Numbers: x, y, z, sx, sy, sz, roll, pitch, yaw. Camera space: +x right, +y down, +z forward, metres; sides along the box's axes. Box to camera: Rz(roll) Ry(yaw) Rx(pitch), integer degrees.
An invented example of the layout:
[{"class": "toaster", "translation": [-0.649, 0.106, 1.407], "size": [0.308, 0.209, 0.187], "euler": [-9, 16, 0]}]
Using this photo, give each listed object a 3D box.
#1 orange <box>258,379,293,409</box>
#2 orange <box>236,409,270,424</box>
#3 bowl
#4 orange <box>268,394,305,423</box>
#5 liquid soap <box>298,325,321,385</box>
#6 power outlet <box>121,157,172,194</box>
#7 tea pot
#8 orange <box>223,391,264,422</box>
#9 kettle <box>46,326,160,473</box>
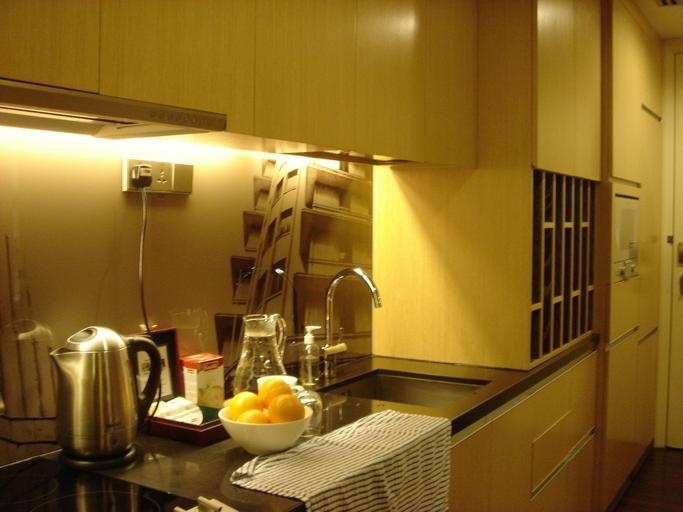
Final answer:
[{"class": "orange", "translation": [-0.182, 0.380, 1.643], "size": [0.091, 0.080, 0.077], "euler": [6, 26, -11]}, {"class": "orange", "translation": [-0.241, 0.439, 1.563], "size": [0.084, 0.029, 0.076], "euler": [-1, 3, -17]}, {"class": "bowl", "translation": [-0.242, 0.500, 1.641], "size": [0.241, 0.100, 0.244], "euler": [-3, -1, 0]}, {"class": "orange", "translation": [-0.151, 0.421, 1.559], "size": [0.074, 0.077, 0.090], "euler": [-20, -22, 25]}, {"class": "liquid soap", "translation": [-0.124, 0.390, 2.360], "size": [0.091, 0.230, 0.324], "euler": [0, 3, -3]}, {"class": "power outlet", "translation": [-0.616, -0.258, 1.822], "size": [0.047, 0.104, 0.174], "euler": [2, 4, 34]}, {"class": "tea pot", "translation": [-0.291, 0.308, 1.937], "size": [0.162, 0.345, 0.146], "euler": [-4, 13, -44]}, {"class": "orange", "translation": [-0.262, 0.417, 1.632], "size": [0.103, 0.089, 0.088], "euler": [-15, 13, 45]}, {"class": "kettle", "translation": [-0.661, 0.345, 1.575], "size": [0.195, 0.394, 0.241], "euler": [12, 11, 39]}]
